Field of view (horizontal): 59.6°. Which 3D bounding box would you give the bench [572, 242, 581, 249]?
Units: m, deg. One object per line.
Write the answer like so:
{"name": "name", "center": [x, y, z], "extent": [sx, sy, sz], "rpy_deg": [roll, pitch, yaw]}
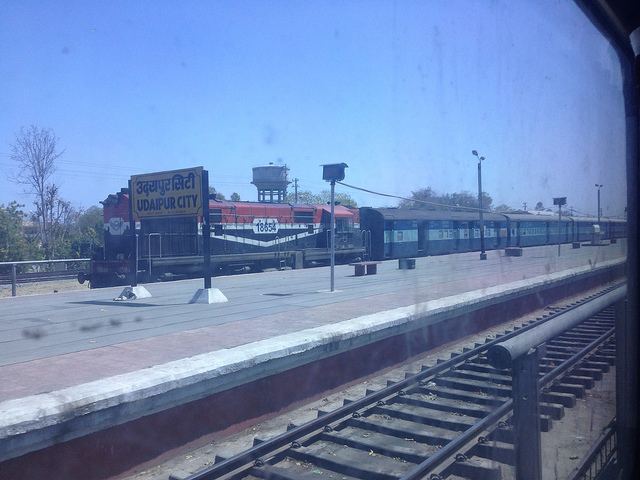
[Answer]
{"name": "bench", "center": [13.800, 0.243, 30.150], "extent": [0.410, 0.361, 0.454], "rpy_deg": [1, 8, 15]}

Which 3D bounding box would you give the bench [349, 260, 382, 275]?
{"name": "bench", "center": [1.575, 0.890, 18.747], "extent": [0.683, 0.410, 2.069], "rpy_deg": [-1, 3, 9]}
